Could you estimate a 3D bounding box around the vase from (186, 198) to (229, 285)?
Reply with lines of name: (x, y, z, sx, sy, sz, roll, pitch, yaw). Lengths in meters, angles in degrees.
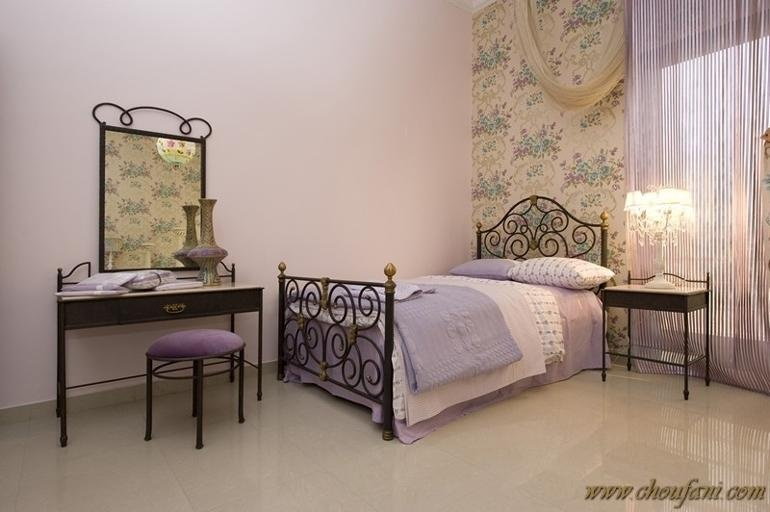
vase: (-1.364, -0.111, 4.156, 0.291, 0.620, 0.293, 6, 7, 41)

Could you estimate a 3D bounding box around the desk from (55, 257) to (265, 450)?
desk: (-1.668, 0.716, 3.872, 1.257, 1.030, 0.486, 0, -1, -40)

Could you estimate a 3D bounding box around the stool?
stool: (-1.295, 0.906, 3.833, 0.712, 0.719, 0.713, 2, -1, -37)

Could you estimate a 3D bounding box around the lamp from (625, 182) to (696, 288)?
lamp: (2.261, -0.155, 4.494, 0.525, 0.757, 0.452, -2, -5, 32)

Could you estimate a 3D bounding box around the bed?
bed: (0.579, 0.297, 4.869, 2.661, 1.659, 1.895, -3, 2, -37)

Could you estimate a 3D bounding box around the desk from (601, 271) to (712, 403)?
desk: (2.237, 0.585, 4.512, 0.728, 0.865, 0.531, 1, 3, 45)
